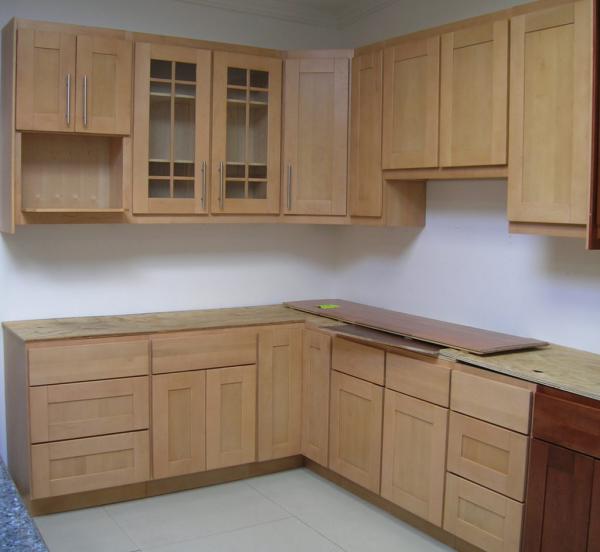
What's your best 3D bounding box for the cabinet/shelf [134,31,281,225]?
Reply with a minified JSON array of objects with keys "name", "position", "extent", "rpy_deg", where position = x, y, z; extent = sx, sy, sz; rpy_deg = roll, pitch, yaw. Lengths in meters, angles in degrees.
[{"name":"cabinet/shelf","position":[-0.528,-0.803,3.016],"extent":[1.001,1.246,0.446],"rpy_deg":[0,2,-23]}]
